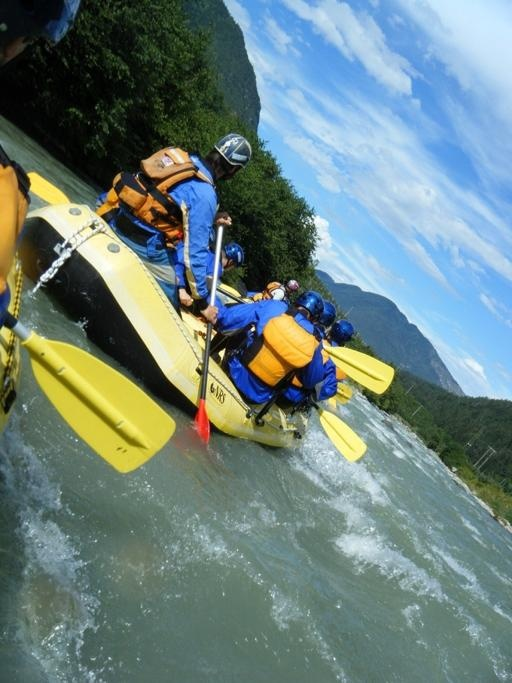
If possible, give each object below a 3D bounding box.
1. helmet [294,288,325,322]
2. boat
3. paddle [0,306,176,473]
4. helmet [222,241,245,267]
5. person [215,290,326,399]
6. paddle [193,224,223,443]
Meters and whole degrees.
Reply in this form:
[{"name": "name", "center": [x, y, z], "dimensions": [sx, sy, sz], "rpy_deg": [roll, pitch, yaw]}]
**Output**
[{"name": "helmet", "center": [0.592, -0.386, 6.327], "dimensions": [0.260, 0.308, 0.332], "rpy_deg": [23, -11, 24]}, {"name": "boat", "center": [-0.549, -0.275, 5.157], "dimensions": [2.525, 0.852, 1.458], "rpy_deg": [48, -7, -34]}, {"name": "paddle", "center": [-0.729, 0.291, 2.863], "dimensions": [0.165, 0.344, 1.164], "rpy_deg": [24, -21, 47]}, {"name": "helmet", "center": [-0.239, -0.991, 6.855], "dimensions": [0.227, 0.271, 0.265], "rpy_deg": [21, -23, -24]}, {"name": "person", "center": [0.129, 0.060, 5.652], "dimensions": [0.738, 0.552, 1.035], "rpy_deg": [36, -41, -14]}, {"name": "paddle", "center": [-0.379, -0.049, 4.989], "dimensions": [0.244, 1.533, 0.072], "rpy_deg": [2, -12, 17]}]
